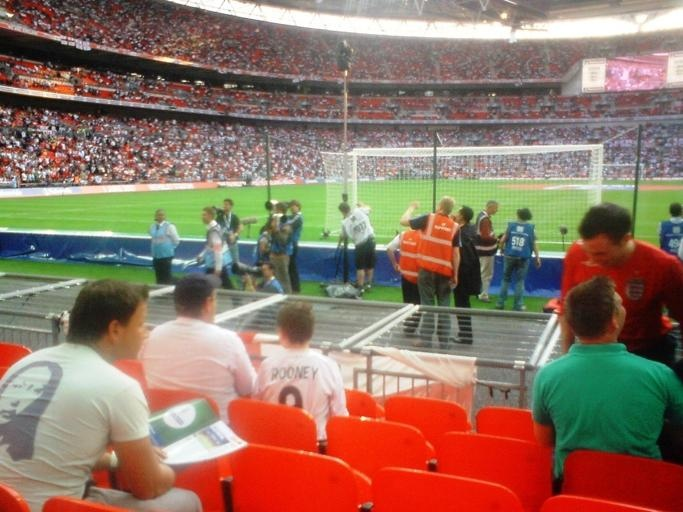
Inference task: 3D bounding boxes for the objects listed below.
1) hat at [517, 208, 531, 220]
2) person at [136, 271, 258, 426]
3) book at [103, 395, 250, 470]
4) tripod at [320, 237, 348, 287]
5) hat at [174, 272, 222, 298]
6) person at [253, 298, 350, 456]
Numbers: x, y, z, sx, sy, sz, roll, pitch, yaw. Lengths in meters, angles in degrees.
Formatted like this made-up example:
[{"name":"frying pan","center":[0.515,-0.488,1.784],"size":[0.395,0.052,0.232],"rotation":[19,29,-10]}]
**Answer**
[{"name":"hat","center":[2.692,-0.632,9.467],"size":[0.145,0.184,0.186],"rotation":[7,21,16]},{"name":"person","center":[-1.064,0.699,4.736],"size":[0.801,1.133,0.792],"rotation":[3,10,8]},{"name":"book","center":[-0.862,1.011,3.673],"size":[0.469,0.171,0.451],"rotation":[-8,37,-41]},{"name":"tripod","center":[-0.102,0.092,11.467],"size":[0.509,0.930,1.244],"rotation":[2,8,0]},{"name":"hat","center":[-1.068,0.207,4.682],"size":[0.183,0.243,0.240],"rotation":[6,-5,-4]},{"name":"person","center":[-0.253,0.812,4.446],"size":[0.551,1.061,0.616],"rotation":[14,27,30]}]
